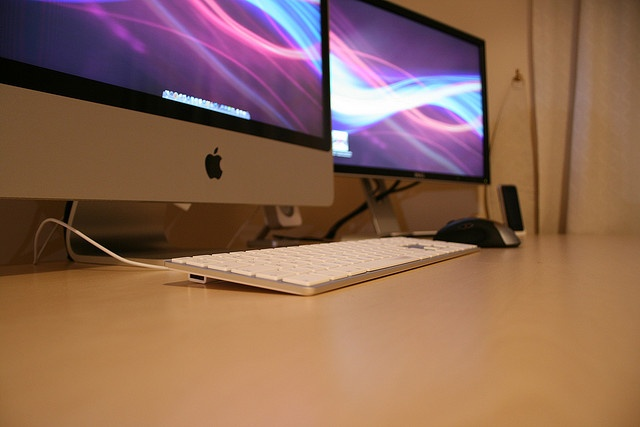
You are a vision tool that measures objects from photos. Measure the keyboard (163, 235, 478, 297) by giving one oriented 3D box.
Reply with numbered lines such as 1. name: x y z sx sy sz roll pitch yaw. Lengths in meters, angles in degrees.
1. keyboard: 0.041 0.068 0.745 0.226 0.042 0.511 0 3 41

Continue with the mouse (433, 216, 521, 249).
1. mouse: 0.345 0.043 1.006 0.142 0.046 0.083 4 -2 21
